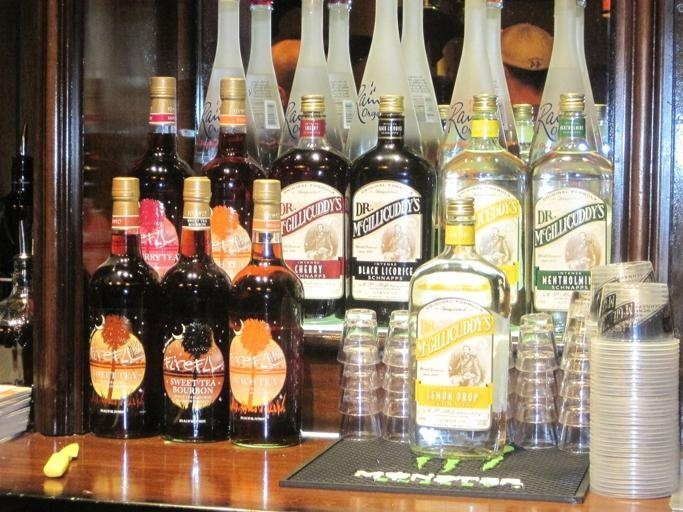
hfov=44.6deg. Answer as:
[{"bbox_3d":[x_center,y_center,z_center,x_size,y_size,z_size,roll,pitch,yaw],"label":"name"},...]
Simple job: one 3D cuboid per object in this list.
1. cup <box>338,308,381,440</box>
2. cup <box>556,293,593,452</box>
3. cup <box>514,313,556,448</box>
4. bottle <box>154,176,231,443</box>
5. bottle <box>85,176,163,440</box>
[{"bbox_3d":[0.032,0.192,1.360,0.067,0.213,0.037,0,2,2],"label":"cup"},{"bbox_3d":[0.364,0.182,1.302,0.048,0.251,0.060,0,2,15],"label":"cup"},{"bbox_3d":[0.309,0.198,1.327,0.070,0.213,0.032,0,2,12],"label":"cup"},{"bbox_3d":[-0.237,0.087,1.358,0.107,0.426,0.086,-1,2,-19],"label":"bottle"},{"bbox_3d":[-0.354,0.086,1.368,0.114,0.425,0.054,0,2,-12],"label":"bottle"}]
